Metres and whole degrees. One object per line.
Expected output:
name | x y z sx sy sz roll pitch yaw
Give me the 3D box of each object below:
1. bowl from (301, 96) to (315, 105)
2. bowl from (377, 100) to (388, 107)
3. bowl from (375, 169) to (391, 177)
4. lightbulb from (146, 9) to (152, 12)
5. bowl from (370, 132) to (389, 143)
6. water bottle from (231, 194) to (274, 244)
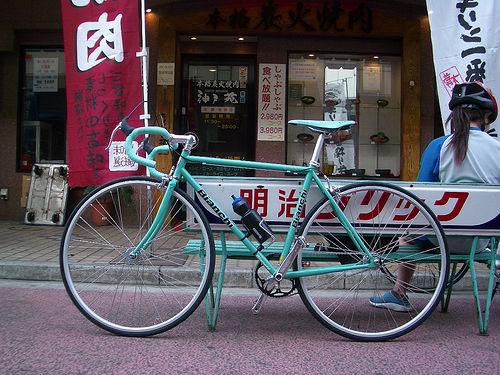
bowl | 1.196 -1.741 9.846 0.311 0.173 0.116 -2 5 -27
bowl | 2.725 -1.700 9.957 0.205 0.138 0.059 0 5 -10
bowl | 2.698 -0.298 9.843 0.171 0.089 0.175 0 -1 0
lightbulb | -1.892 -3.311 9.180 0.102 0.038 0.059 0 5 -9
bowl | 2.643 -0.986 9.867 0.204 0.118 0.261 5 -8 -38
water bottle | 0.024 0.262 4.272 0.190 0.584 0.177 -38 -9 -8
